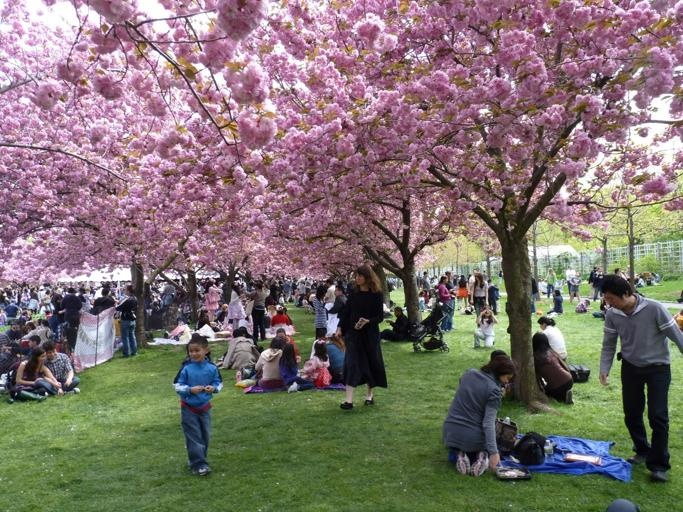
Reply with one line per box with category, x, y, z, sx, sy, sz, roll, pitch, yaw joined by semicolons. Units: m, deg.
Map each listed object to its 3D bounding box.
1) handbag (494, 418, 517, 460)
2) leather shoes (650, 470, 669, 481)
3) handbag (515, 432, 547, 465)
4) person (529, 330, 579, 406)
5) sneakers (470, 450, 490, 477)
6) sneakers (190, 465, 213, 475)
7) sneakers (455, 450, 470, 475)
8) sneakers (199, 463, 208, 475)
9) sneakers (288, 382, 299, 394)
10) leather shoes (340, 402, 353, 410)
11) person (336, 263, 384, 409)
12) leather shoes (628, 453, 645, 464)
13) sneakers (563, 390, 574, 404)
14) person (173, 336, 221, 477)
handbag;2.182;2.529;7.433;0.335;0.429;0.474;-1;-5;10
leather shoes;3.879;2.735;6.543;0.094;0.107;0.246;-8;-31;44
handbag;2.515;2.608;7.101;0.266;0.153;0.438;3;-4;9
person;3.759;1.997;9.521;0.663;1.210;0.426;-1;4;21
sneakers;1.785;2.699;6.898;0.159;0.368;0.169;24;-25;11
sneakers;-1.844;2.826;6.973;0.264;0.120;0.108;-4;-7;16
sneakers;1.566;2.719;6.923;0.125;0.277;0.131;-14;-31;12
sneakers;-1.801;2.818;6.942;0.074;0.075;0.164;4;-13;-30
sneakers;-0.959;2.621;10.527;0.208;0.153;0.234;-2;3;-4
leather shoes;0.093;2.573;9.028;0.241;0.087;0.098;-1;-6;29
person;0.329;1.403;9.093;0.772;2.423;0.555;-2;4;3
leather shoes;3.881;2.696;7.018;0.239;0.102;0.091;0;-1;17
sneakers;3.997;2.472;9.403;0.108;0.313;0.140;-1;-9;-2
person;-1.895;1.979;7.164;0.581;1.776;0.578;-5;5;-41
